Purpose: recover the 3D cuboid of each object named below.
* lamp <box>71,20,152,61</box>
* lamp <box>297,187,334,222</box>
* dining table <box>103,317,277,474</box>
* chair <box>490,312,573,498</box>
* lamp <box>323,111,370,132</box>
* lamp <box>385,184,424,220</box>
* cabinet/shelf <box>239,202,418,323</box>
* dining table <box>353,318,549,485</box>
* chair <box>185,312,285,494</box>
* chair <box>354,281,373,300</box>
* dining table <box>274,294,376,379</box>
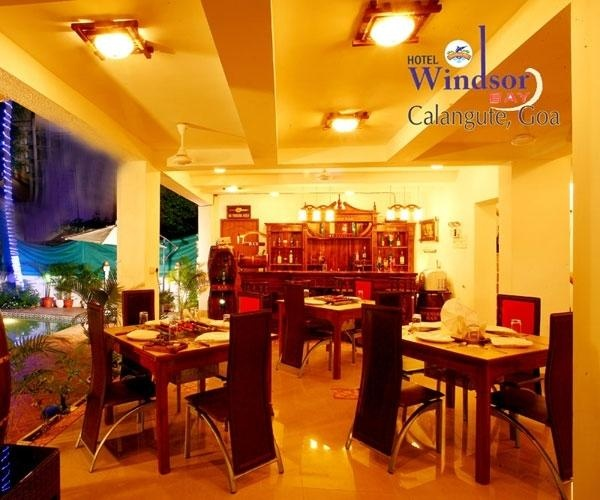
[{"bbox_3d":[-1.513,-1.725,3.848,0.560,0.192,0.490,0,5,-3],"label":"lamp"},{"bbox_3d":[0.399,-1.072,10.931,0.704,1.015,0.996,0,-3,-3],"label":"lamp"},{"bbox_3d":[-0.992,0.994,3.908,1.023,0.887,1.094,3,-3,-37],"label":"dining table"},{"bbox_3d":[1.721,1.051,3.405,0.533,1.246,0.527,4,6,37],"label":"chair"},{"bbox_3d":[0.559,-1.563,5.682,0.548,0.166,0.500,1,5,3],"label":"lamp"},{"bbox_3d":[2.570,-1.185,11.266,0.738,0.926,0.885,-3,-4,42],"label":"lamp"},{"bbox_3d":[0.657,0.200,9.360,2.344,1.939,0.800,0,-4,0],"label":"cabinet/shelf"},{"bbox_3d":[1.414,0.971,3.747,0.892,0.764,1.197,-1,2,-28],"label":"dining table"},{"bbox_3d":[-0.473,1.050,3.559,0.602,1.232,0.597,-3,6,-36],"label":"chair"},{"bbox_3d":[1.004,0.639,7.365,0.251,0.511,0.264,2,-8,-8],"label":"chair"},{"bbox_3d":[0.300,0.844,6.037,1.032,0.941,1.183,-1,2,-29],"label":"dining table"}]
